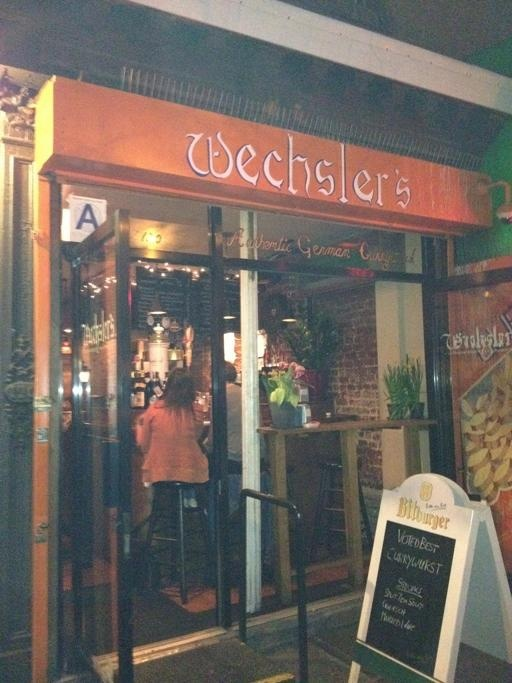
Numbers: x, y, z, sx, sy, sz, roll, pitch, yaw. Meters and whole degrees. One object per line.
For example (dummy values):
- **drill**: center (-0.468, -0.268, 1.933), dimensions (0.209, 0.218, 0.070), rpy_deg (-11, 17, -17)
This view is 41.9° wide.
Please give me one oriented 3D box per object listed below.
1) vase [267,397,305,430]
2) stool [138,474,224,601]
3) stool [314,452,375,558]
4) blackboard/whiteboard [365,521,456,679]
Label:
- **vase**: center (0.166, 0.397, 3.781), dimensions (0.191, 0.190, 0.137), rpy_deg (4, -7, -40)
- **stool**: center (-0.328, 0.916, 3.420), dimensions (0.343, 0.490, 0.354), rpy_deg (8, -3, 23)
- **stool**: center (0.462, 0.921, 3.988), dimensions (0.260, 0.399, 0.272), rpy_deg (-9, -10, 27)
- **blackboard/whiteboard**: center (0.631, 1.045, 2.758), dimensions (0.155, 0.504, 0.367), rpy_deg (1, -3, -35)
